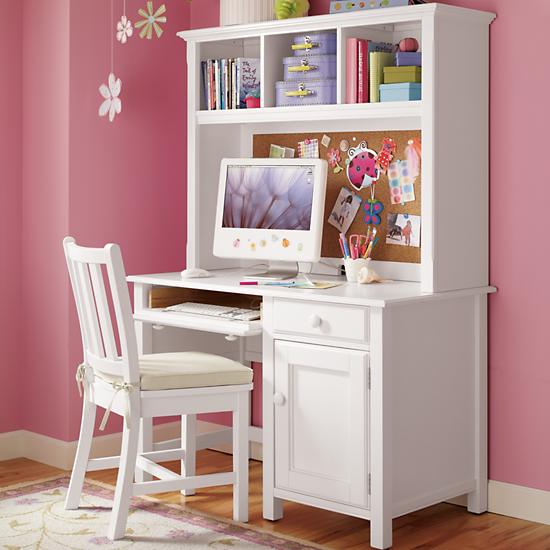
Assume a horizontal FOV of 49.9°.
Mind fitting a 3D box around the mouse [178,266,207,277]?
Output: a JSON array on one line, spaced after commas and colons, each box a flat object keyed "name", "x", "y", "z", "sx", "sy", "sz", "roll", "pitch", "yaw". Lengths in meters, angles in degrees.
[{"name": "mouse", "x": -0.319, "y": -0.011, "z": 2.247, "sx": 0.047, "sy": 0.022, "sz": 0.088, "roll": -1, "pitch": -1, "yaw": 43}]

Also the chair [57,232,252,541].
[{"name": "chair", "x": -0.398, "y": 0.336, "z": 1.980, "sx": 0.628, "sy": 0.930, "sz": 0.629, "roll": 1, "pitch": -3, "yaw": -19}]

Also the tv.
[{"name": "tv", "x": -0.017, "y": -0.220, "z": 2.287, "sx": 0.586, "sy": 0.477, "sz": 0.198, "roll": 4, "pitch": -5, "yaw": 33}]
